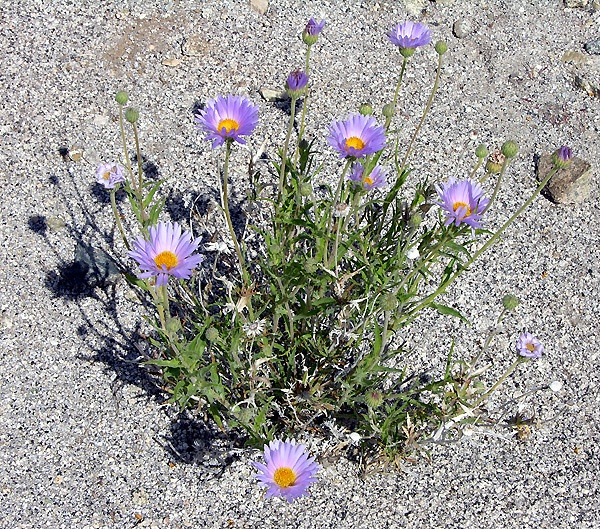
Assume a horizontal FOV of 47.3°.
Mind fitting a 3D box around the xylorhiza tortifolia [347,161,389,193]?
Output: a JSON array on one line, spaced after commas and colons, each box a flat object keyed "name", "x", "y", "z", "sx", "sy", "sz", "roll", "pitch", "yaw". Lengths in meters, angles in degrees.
[{"name": "xylorhiza tortifolia", "x": 0.277, "y": -0.359, "z": 2.785, "sx": 0.113, "sy": 0.052, "sz": 0.134, "roll": 29, "pitch": 79, "yaw": 16}]

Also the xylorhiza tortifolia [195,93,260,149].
[{"name": "xylorhiza tortifolia", "x": -0.286, "y": -0.560, "z": 2.630, "sx": 0.191, "sy": 0.086, "sz": 0.278, "roll": 9, "pitch": 78, "yaw": 3}]

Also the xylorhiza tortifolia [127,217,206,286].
[{"name": "xylorhiza tortifolia", "x": -0.524, "y": -0.071, "z": 2.676, "sx": 0.286, "sy": 0.308, "sz": 0.180, "roll": -6, "pitch": 88, "yaw": 22}]

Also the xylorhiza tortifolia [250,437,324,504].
[{"name": "xylorhiza tortifolia", "x": -0.062, "y": 0.821, "z": 2.745, "sx": 0.248, "sy": 0.249, "sz": 0.253, "roll": -42, "pitch": 77, "yaw": -16}]

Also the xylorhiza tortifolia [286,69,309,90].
[{"name": "xylorhiza tortifolia", "x": -0.008, "y": -0.755, "z": 2.744, "sx": 0.060, "sy": 0.089, "sz": 0.088, "roll": 3, "pitch": 80, "yaw": -2}]

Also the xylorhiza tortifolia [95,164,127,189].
[{"name": "xylorhiza tortifolia", "x": -0.839, "y": -0.377, "z": 3.002, "sx": 0.106, "sy": 0.056, "sz": 0.142, "roll": -18, "pitch": 77, "yaw": -11}]

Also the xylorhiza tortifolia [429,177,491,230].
[{"name": "xylorhiza tortifolia", "x": 0.673, "y": -0.269, "z": 2.823, "sx": 0.191, "sy": 0.241, "sz": 0.139, "roll": 11, "pitch": 79, "yaw": 16}]
